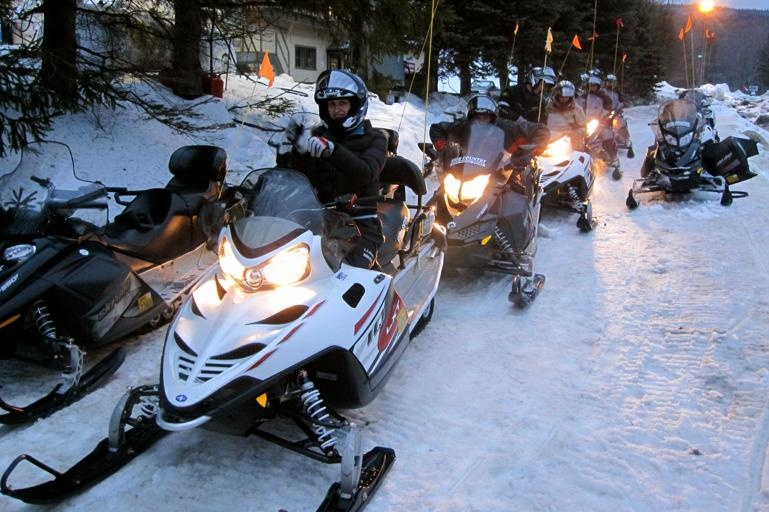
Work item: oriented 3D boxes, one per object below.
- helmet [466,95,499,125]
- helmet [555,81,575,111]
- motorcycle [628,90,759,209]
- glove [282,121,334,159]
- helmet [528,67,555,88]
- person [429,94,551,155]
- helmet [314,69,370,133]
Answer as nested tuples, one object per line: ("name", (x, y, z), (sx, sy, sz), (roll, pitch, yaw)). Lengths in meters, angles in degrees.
("helmet", (1.275, -1.870, 8.165), (0.329, 0.361, 0.416), (7, -9, 15))
("helmet", (3.050, -2.750, 10.685), (0.362, 0.477, 0.492), (2, 14, 10))
("motorcycle", (5.191, -1.826, 10.528), (1.581, 1.421, 2.593), (2, 15, 31))
("glove", (-0.688, -0.997, 5.400), (0.404, 0.175, 0.306), (31, 9, -6))
("helmet", (2.840, -3.283, 11.465), (0.450, 0.427, 0.369), (-7, 3, 29))
("person", (1.290, -1.695, 8.059), (1.483, 0.762, 0.851), (7, 6, 29))
("helmet", (-0.442, -1.564, 6.207), (0.488, 0.592, 0.620), (9, 24, 22))
